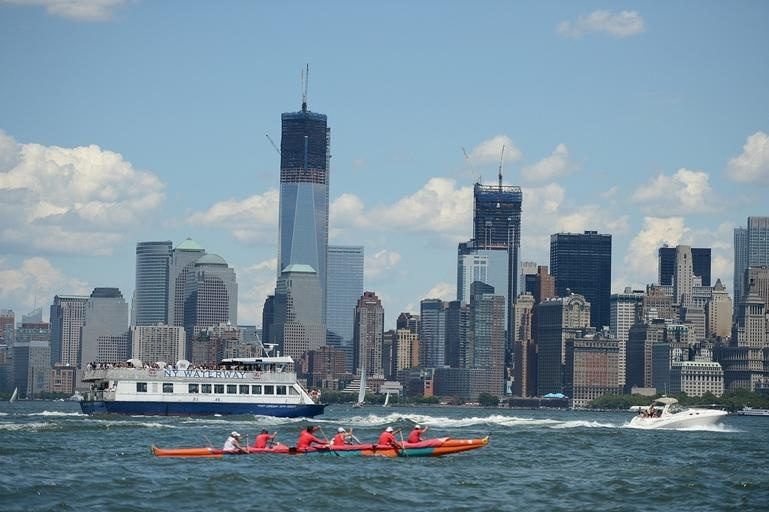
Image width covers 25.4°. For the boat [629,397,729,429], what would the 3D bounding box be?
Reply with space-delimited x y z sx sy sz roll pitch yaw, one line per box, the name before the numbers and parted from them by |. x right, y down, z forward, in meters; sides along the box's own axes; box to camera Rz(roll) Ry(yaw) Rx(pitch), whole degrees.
boat | 49.765 26.866 292.744 14.481 5.291 6.522 1 0 8
